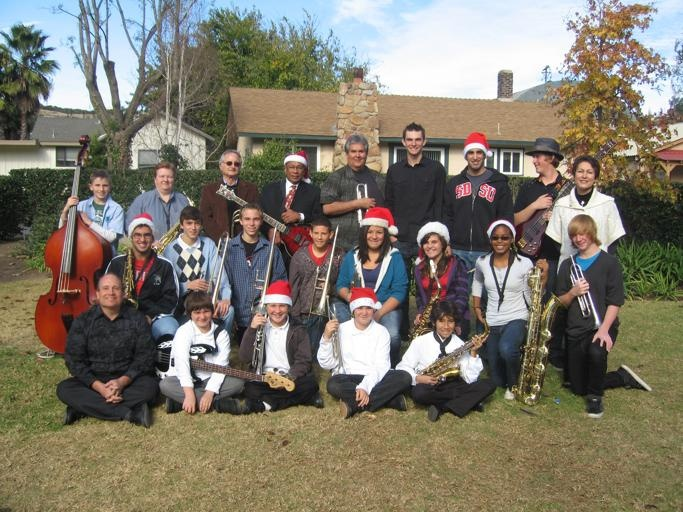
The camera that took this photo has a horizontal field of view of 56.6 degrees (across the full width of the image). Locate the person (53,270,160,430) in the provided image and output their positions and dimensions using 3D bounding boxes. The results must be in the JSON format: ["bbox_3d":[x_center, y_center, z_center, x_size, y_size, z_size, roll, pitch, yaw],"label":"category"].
[{"bbox_3d":[-2.234,0.899,6.140,0.872,1.402,0.765,1,7,-11],"label":"person"}]

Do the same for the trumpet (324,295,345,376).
[{"bbox_3d":[-0.075,0.824,6.545,0.208,0.676,0.236,-5,-7,-9],"label":"trumpet"}]

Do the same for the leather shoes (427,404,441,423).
[{"bbox_3d":[0.883,1.533,6.134,0.061,0.081,0.201,-6,42,18],"label":"leather shoes"}]

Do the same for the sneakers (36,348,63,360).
[{"bbox_3d":[-3.417,1.155,7.387,0.291,0.117,0.175,4,7,12],"label":"sneakers"}]

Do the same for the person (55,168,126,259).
[{"bbox_3d":[-2.988,-0.529,7.633,0.651,1.196,0.315,-7,1,16],"label":"person"}]

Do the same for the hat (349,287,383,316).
[{"bbox_3d":[0.248,0.477,6.591,0.274,0.257,0.202,21,-4,4],"label":"hat"}]

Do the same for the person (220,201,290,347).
[{"bbox_3d":[-1.077,0.602,7.432,0.834,2.382,0.635,3,16,-6],"label":"person"}]

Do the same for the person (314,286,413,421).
[{"bbox_3d":[0.210,1.099,6.580,0.756,1.296,0.520,-2,-33,2],"label":"person"}]

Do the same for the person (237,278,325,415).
[{"bbox_3d":[-0.615,0.913,6.340,0.838,1.238,1.009,6,18,23],"label":"person"}]

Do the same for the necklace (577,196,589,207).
[{"bbox_3d":[2.629,-0.591,6.896,0.087,0.123,0.028,-1,-4,16],"label":"necklace"}]

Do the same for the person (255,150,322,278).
[{"bbox_3d":[-0.614,-0.592,7.928,0.643,1.562,0.223,5,-24,-25],"label":"person"}]

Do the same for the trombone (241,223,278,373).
[{"bbox_3d":[-0.777,0.460,6.582,0.261,1.556,0.210,-3,-17,40],"label":"trombone"}]

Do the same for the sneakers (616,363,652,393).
[{"bbox_3d":[3.141,1.327,6.896,0.167,0.149,0.422,-35,53,-9],"label":"sneakers"}]

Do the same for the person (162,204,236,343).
[{"bbox_3d":[-1.640,0.589,7.208,0.753,2.190,0.639,-4,10,-23],"label":"person"}]

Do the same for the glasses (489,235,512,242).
[{"bbox_3d":[1.696,-0.179,6.717,0.203,0.056,0.068,1,6,6],"label":"glasses"}]

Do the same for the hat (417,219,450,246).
[{"bbox_3d":[1.007,-0.255,7.052,0.284,0.252,0.263,-1,-10,18],"label":"hat"}]

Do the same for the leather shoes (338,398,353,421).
[{"bbox_3d":[0.049,1.502,6.203,0.124,0.148,0.149,0,6,-3],"label":"leather shoes"}]

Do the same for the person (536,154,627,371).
[{"bbox_3d":[2.762,0.011,7.087,0.823,2.213,0.571,0,17,33],"label":"person"}]

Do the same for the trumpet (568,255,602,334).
[{"bbox_3d":[2.480,0.396,6.470,0.182,0.762,0.186,-14,-6,3],"label":"trumpet"}]

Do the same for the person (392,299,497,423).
[{"bbox_3d":[1.194,1.124,6.448,1.076,0.581,1.479,16,7,18],"label":"person"}]

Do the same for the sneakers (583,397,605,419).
[{"bbox_3d":[2.509,1.519,6.312,0.105,0.218,0.312,-4,-20,21],"label":"sneakers"}]

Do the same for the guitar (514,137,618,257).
[{"bbox_3d":[2.238,-0.566,7.182,0.655,1.589,0.208,40,11,32],"label":"guitar"}]

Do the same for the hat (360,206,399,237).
[{"bbox_3d":[0.441,-0.371,7.153,0.377,0.274,0.287,5,-3,-10],"label":"hat"}]

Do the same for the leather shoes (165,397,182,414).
[{"bbox_3d":[-1.633,1.466,6.174,0.137,0.139,0.132,-28,-28,37],"label":"leather shoes"}]

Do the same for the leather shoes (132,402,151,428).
[{"bbox_3d":[-1.867,1.495,5.919,0.110,0.105,0.273,0,22,-2],"label":"leather shoes"}]

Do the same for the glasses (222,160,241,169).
[{"bbox_3d":[-1.318,-1.110,7.821,0.104,0.084,0.266,5,7,33],"label":"glasses"}]

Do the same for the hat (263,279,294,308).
[{"bbox_3d":[-0.646,0.401,6.539,0.196,0.252,0.287,0,-23,15],"label":"hat"}]

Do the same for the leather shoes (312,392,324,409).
[{"bbox_3d":[-0.236,1.457,6.366,0.046,0.139,0.117,-10,38,-15],"label":"leather shoes"}]

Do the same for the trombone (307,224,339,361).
[{"bbox_3d":[-0.250,0.308,7.026,0.349,1.422,0.446,3,-10,8],"label":"trombone"}]

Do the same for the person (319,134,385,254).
[{"bbox_3d":[0.188,-0.514,8.031,0.900,1.974,0.676,-9,30,-16],"label":"person"}]

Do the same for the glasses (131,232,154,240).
[{"bbox_3d":[-2.120,-0.209,6.757,0.222,0.096,0.126,-2,7,-24],"label":"glasses"}]

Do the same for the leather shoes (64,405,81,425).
[{"bbox_3d":[-2.524,1.503,5.958,0.071,0.233,0.086,-13,-5,-34],"label":"leather shoes"}]

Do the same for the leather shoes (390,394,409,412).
[{"bbox_3d":[0.573,1.470,6.317,0.099,0.089,0.234,-6,10,6],"label":"leather shoes"}]

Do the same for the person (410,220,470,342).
[{"bbox_3d":[1.076,0.483,7.043,0.544,1.638,0.533,1,9,27],"label":"person"}]

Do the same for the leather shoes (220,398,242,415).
[{"bbox_3d":[-1.082,1.463,6.163,0.271,0.109,0.127,4,12,35],"label":"leather shoes"}]

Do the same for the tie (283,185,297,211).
[{"bbox_3d":[-0.646,-0.736,7.979,0.092,0.358,0.090,14,-20,20],"label":"tie"}]

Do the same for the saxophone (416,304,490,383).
[{"bbox_3d":[0.963,0.967,6.350,1.026,0.413,0.396,-35,11,41],"label":"saxophone"}]

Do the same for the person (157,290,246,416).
[{"bbox_3d":[-1.392,0.939,6.262,0.788,1.057,0.662,3,6,-30],"label":"person"}]

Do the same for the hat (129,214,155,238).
[{"bbox_3d":[-2.181,-0.331,6.918,0.214,0.234,0.295,4,-7,-25],"label":"hat"}]
